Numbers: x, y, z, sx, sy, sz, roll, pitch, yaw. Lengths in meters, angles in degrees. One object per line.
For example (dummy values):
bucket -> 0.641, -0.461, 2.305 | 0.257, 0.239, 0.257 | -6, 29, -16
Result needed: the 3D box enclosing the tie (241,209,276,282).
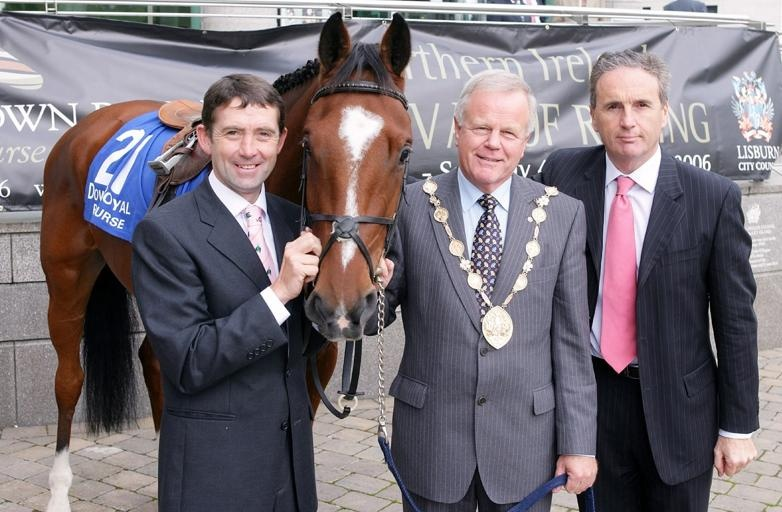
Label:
tie -> -0.686, -0.078, 4.226 | 0.106, 0.509, 0.067 | -17, -1, -10
